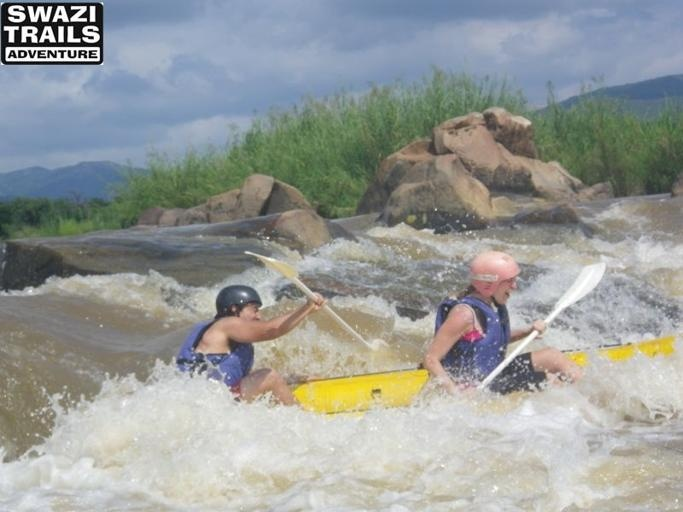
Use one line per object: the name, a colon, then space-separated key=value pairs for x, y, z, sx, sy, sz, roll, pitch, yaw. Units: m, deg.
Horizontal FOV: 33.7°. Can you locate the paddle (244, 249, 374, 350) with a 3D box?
paddle: x=-0.482 y=0.676 z=16.470 sx=0.275 sy=1.972 sz=0.111 roll=-28 pitch=23 yaw=54

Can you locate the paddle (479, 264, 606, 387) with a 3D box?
paddle: x=2.722 y=0.976 z=15.139 sx=2.690 sy=0.297 sz=0.118 roll=-38 pitch=2 yaw=-34

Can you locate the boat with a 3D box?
boat: x=1.724 y=1.503 z=13.931 sx=5.436 sy=0.822 sz=0.440 roll=-4 pitch=-4 yaw=-13

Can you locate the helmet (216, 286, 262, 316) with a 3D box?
helmet: x=-1.253 y=0.539 z=13.627 sx=0.452 sy=0.361 sz=0.368 roll=-28 pitch=0 yaw=9
